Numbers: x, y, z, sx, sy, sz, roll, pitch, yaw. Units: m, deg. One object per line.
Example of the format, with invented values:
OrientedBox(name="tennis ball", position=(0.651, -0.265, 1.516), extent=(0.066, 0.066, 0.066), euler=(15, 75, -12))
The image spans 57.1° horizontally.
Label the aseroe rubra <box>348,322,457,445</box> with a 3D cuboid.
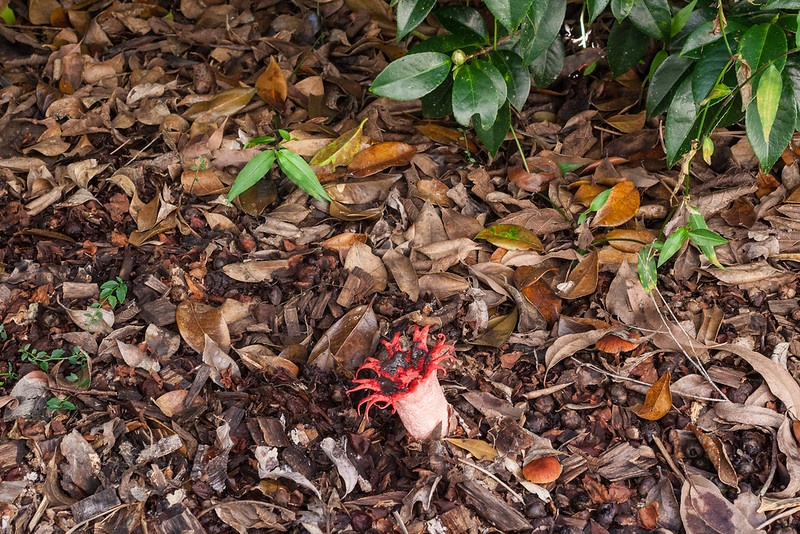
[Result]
OrientedBox(name="aseroe rubra", position=(0.046, 0.414, 2.951), extent=(0.434, 0.343, 0.446), euler=(21, 70, 11))
